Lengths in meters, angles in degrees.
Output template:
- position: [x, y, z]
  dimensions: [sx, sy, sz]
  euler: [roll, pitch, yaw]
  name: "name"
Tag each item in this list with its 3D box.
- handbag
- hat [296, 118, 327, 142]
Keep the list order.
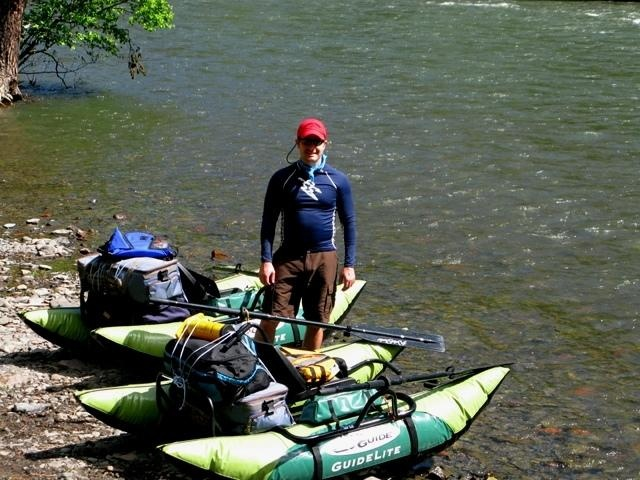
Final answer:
- position: [-3.070, 0.758, 14.740]
  dimensions: [1.979, 0.856, 1.465]
  euler: [5, 8, 33]
  name: "handbag"
- position: [-0.096, -1.647, 14.254]
  dimensions: [0.472, 0.200, 0.509]
  euler: [4, -2, -1]
  name: "hat"
